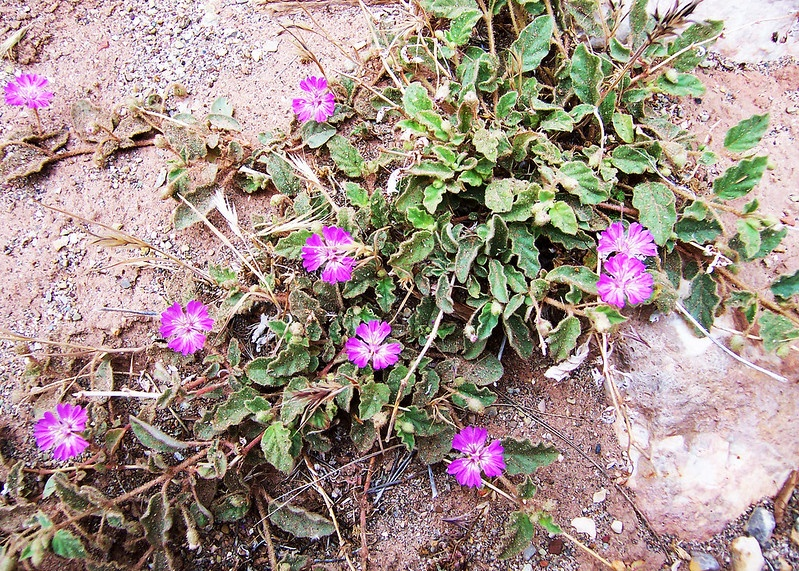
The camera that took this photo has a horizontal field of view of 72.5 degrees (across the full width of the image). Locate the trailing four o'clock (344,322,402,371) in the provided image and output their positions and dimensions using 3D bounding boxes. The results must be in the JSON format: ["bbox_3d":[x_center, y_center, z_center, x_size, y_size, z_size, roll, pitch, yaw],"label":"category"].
[{"bbox_3d":[-0.105,0.259,2.204,0.203,0.133,0.192,-40,66,-17],"label":"trailing four o'clock"}]

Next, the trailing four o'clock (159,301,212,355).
[{"bbox_3d":[-0.880,0.173,2.242,0.188,0.123,0.178,-12,61,-2],"label":"trailing four o'clock"}]

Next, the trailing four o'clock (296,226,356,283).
[{"bbox_3d":[-0.287,-0.125,2.191,0.212,0.130,0.184,-14,61,-4],"label":"trailing four o'clock"}]
